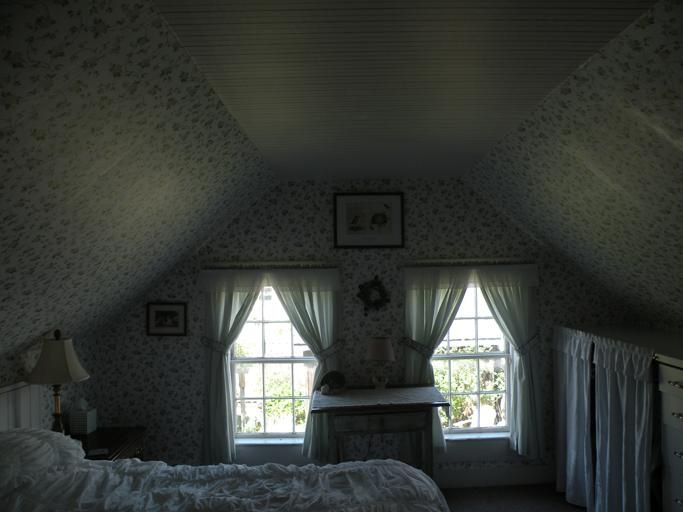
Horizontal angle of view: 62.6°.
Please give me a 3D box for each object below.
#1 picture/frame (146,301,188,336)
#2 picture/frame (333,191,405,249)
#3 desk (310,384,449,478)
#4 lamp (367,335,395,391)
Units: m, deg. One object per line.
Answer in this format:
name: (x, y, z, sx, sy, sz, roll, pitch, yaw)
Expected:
picture/frame: (-1.695, 0.615, 5.441, 0.357, 0.336, 0.035, 3, -26, -24)
picture/frame: (0.276, -0.347, 5.519, 0.678, 0.610, 0.060, 0, -24, 2)
desk: (0.345, 1.821, 5.224, 1.191, 1.228, 0.801, -4, 6, 1)
lamp: (0.357, 1.003, 5.210, 0.252, 0.485, 0.263, -11, -21, 36)
